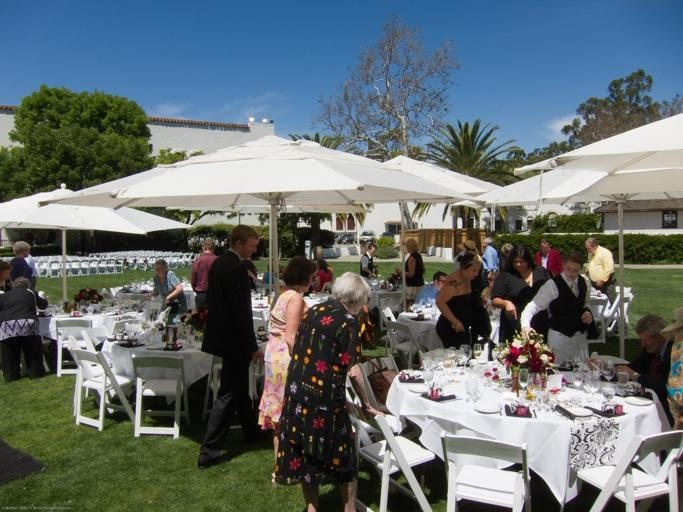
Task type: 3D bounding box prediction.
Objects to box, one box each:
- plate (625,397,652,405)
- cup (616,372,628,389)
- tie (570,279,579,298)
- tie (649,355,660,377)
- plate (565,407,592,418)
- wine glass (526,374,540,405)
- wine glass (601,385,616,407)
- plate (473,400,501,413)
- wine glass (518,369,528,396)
[{"bbox_3d":[3.053,1.489,5.875,0.272,0.028,0.163,1,15,8],"label":"plate"},{"bbox_3d":[2.942,1.299,5.980,0.117,0.149,0.129,0,-4,-9],"label":"cup"},{"bbox_3d":[2.935,0.392,7.225,0.143,0.162,0.056,2,-19,-9],"label":"tie"},{"bbox_3d":[3.447,1.211,6.281,0.049,0.230,0.117,6,10,-20],"label":"tie"},{"bbox_3d":[2.367,1.544,5.672,0.253,0.036,0.218,-1,15,4],"label":"plate"},{"bbox_3d":[2.008,1.363,5.960,0.132,0.245,0.167,4,15,20],"label":"wine glass"},{"bbox_3d":[2.700,1.410,5.786,0.167,0.211,0.174,-4,0,18],"label":"wine glass"},{"bbox_3d":[1.502,1.541,5.871,0.295,0.055,0.288,0,15,6],"label":"plate"},{"bbox_3d":[1.918,1.331,6.042,0.107,0.262,0.178,3,15,19],"label":"wine glass"}]
